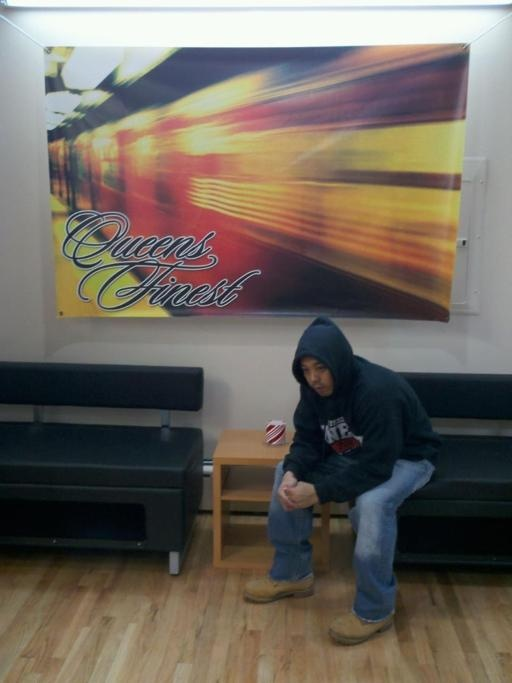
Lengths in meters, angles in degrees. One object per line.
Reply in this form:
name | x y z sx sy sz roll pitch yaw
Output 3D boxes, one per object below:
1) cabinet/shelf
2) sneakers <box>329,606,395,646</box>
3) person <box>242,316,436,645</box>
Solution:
cabinet/shelf | 0.082 0.666 2.479 0.454 0.481 0.534 0 4 6
sneakers | 0.333 0.913 1.777 0.193 0.090 0.081 0 8 -17
person | 0.295 0.428 2.020 0.563 1.024 0.539 5 8 39
